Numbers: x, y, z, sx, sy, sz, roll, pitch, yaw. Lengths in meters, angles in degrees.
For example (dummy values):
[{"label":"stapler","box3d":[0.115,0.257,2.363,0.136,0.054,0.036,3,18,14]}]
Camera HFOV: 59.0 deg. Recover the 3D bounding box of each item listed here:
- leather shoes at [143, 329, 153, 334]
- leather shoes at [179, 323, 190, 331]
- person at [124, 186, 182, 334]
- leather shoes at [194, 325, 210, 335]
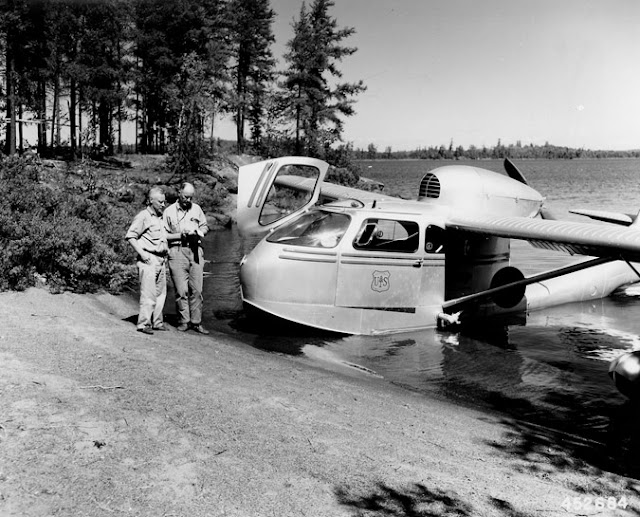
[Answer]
[{"label":"leather shoes","box3d":[-2.881,1.216,9.506,0.197,0.086,0.075,4,9,7]},{"label":"leather shoes","box3d":[-2.469,1.250,10.300,0.128,0.108,0.241,2,-5,-8]},{"label":"person","box3d":[-2.875,0.046,9.663,0.707,2.467,0.898,7,9,-9]},{"label":"leather shoes","box3d":[-2.190,1.318,10.494,0.326,0.142,0.125,21,22,29]}]
